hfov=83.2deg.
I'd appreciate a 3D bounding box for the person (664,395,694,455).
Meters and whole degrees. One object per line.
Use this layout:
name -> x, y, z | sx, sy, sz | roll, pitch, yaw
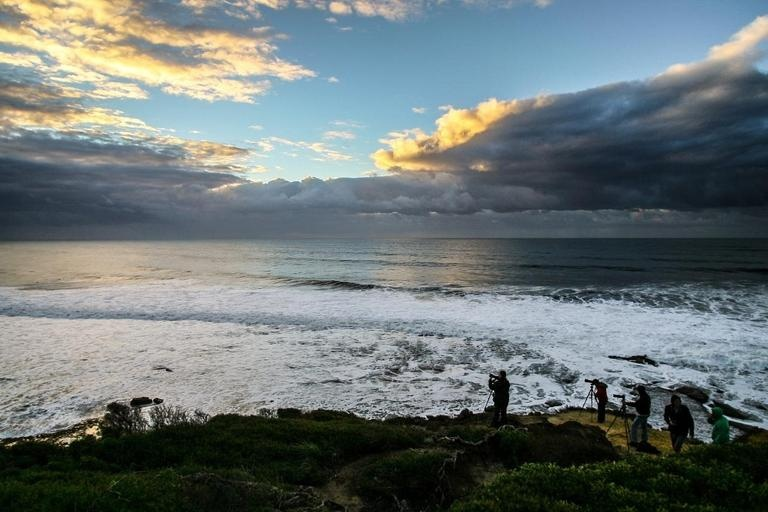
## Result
person -> 12.665, 7.305, 18.687 | 1.071, 2.633, 0.848 | 8, 14, 30
